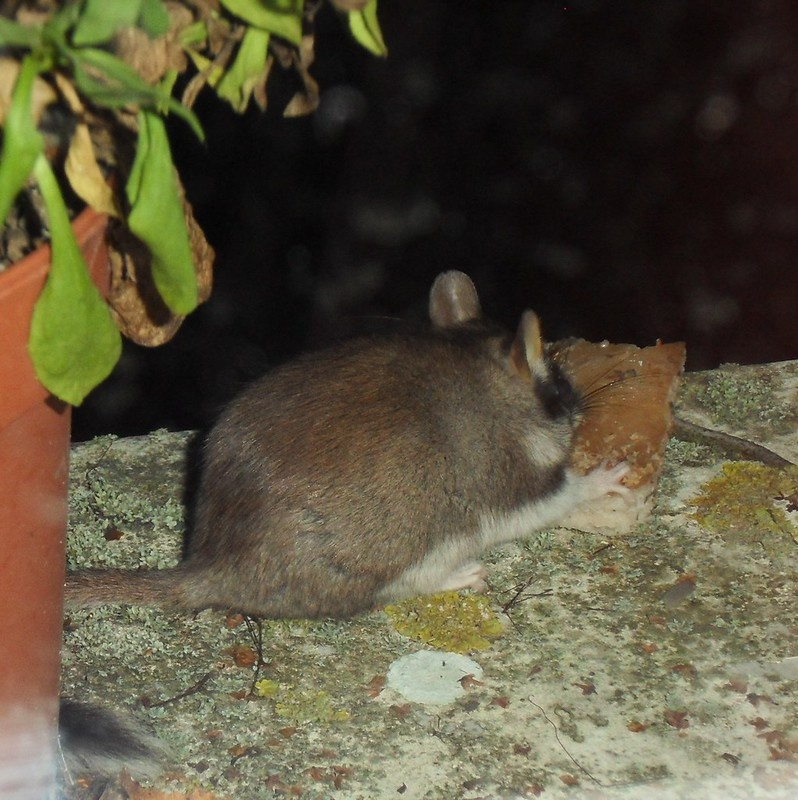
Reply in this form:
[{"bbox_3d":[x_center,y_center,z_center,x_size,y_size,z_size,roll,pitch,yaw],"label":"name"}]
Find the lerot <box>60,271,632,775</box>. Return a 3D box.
[{"bbox_3d":[-0.355,0.070,4.171,2.786,1.302,1.704,-8,36,-17],"label":"lerot"}]
